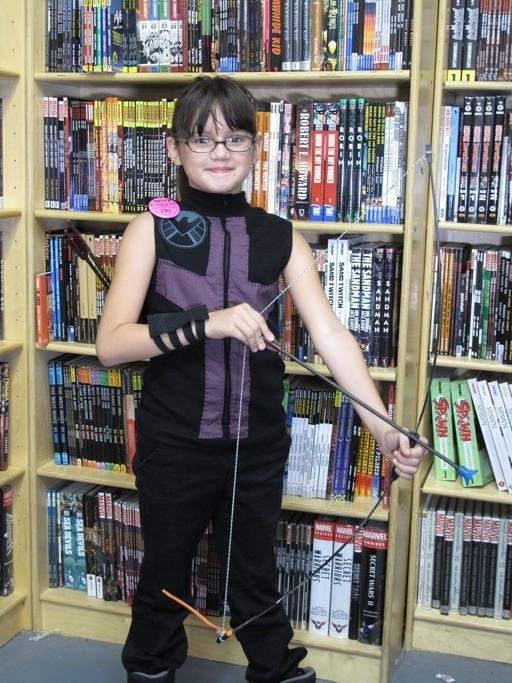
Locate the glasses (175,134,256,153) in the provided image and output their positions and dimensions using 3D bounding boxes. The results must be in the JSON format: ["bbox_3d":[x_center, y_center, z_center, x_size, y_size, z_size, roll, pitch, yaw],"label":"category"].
[{"bbox_3d":[-0.069,-0.352,1.239,0.129,0.036,0.057,0,8,-3],"label":"glasses"}]

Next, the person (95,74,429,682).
[{"bbox_3d":[-0.032,0.121,1.257,0.499,1.199,0.439,-1,9,-11],"label":"person"}]
